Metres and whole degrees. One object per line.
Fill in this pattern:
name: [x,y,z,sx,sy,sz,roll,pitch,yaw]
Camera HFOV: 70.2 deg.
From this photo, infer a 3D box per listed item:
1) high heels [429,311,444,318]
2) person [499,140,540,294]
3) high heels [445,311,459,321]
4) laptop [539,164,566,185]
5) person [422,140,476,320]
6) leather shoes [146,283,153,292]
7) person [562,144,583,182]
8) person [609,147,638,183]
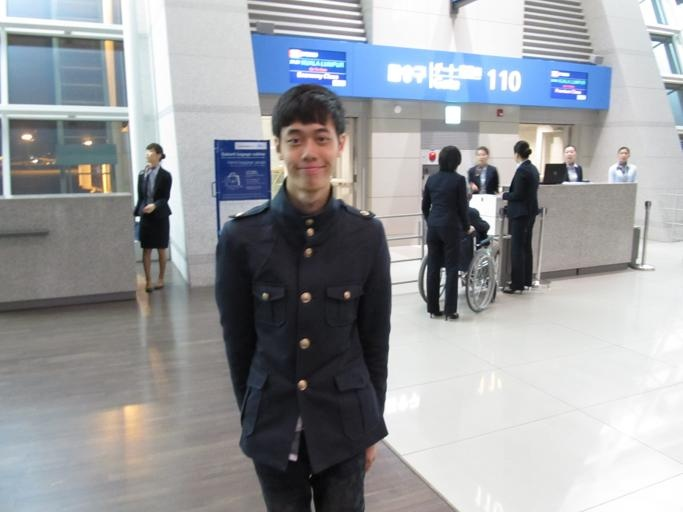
high heels: [1.178,0.721,5.991,0.174,0.077,0.064,-4,3,-1]
person: [2.536,-0.572,6.928,0.626,2.048,0.537,-7,9,-44]
high heels: [1.345,0.730,5.887,0.082,0.084,0.156,6,-24,-32]
laptop: [3.336,-1.308,7.611,0.389,0.393,0.305,1,12,5]
person: [1.207,-0.231,5.650,0.566,2.064,0.411,4,12,29]
leather shoes: [-2.729,0.464,6.865,0.058,0.072,0.164,-3,-7,-26]
person: [4.356,-1.756,9.071,0.313,0.663,1.541,3,11,25]
person: [5.227,-1.717,8.973,0.381,0.634,0.941,6,13,36]
